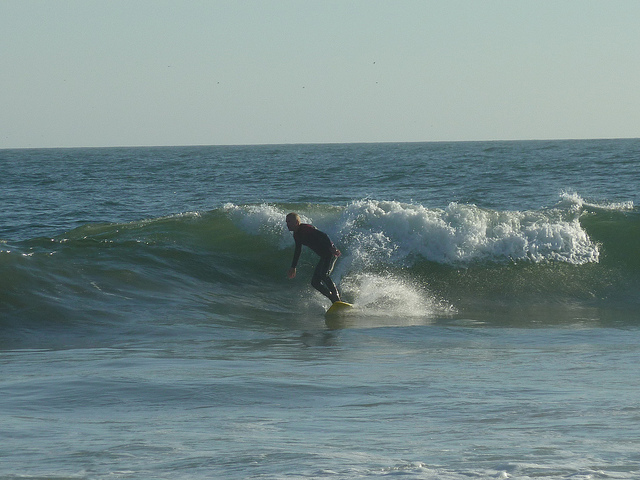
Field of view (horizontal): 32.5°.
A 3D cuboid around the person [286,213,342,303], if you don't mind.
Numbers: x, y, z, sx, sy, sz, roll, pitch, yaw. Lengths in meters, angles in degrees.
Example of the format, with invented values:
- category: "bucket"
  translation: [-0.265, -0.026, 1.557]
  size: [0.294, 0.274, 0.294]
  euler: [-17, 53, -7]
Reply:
- category: "person"
  translation: [-0.092, 0.293, 17.971]
  size: [0.880, 1.529, 0.745]
  euler: [1, 11, 0]
